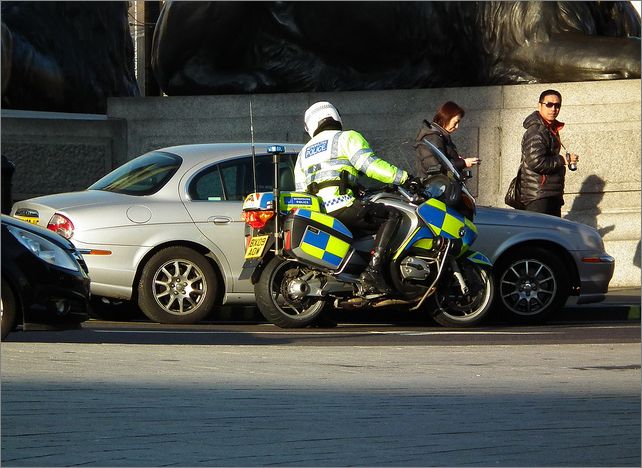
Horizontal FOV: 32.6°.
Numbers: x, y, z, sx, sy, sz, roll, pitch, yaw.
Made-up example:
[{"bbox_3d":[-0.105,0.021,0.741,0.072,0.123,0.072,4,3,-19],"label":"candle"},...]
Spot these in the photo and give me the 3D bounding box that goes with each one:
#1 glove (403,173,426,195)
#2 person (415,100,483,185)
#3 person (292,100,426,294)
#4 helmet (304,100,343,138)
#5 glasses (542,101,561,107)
[{"bbox_3d":[0.933,-0.501,11.013,0.350,0.217,0.192,-4,7,-43],"label":"glove"},{"bbox_3d":[1.389,-0.932,12.127,0.798,0.966,0.769,4,11,10],"label":"person"},{"bbox_3d":[0.337,-0.227,11.089,1.220,1.634,0.402,1,6,7],"label":"person"},{"bbox_3d":[0.012,-1.200,11.350,0.352,0.352,0.405,-2,19,4],"label":"helmet"},{"bbox_3d":[2.757,-1.542,13.034,0.234,0.067,0.112,-2,6,-30],"label":"glasses"}]
